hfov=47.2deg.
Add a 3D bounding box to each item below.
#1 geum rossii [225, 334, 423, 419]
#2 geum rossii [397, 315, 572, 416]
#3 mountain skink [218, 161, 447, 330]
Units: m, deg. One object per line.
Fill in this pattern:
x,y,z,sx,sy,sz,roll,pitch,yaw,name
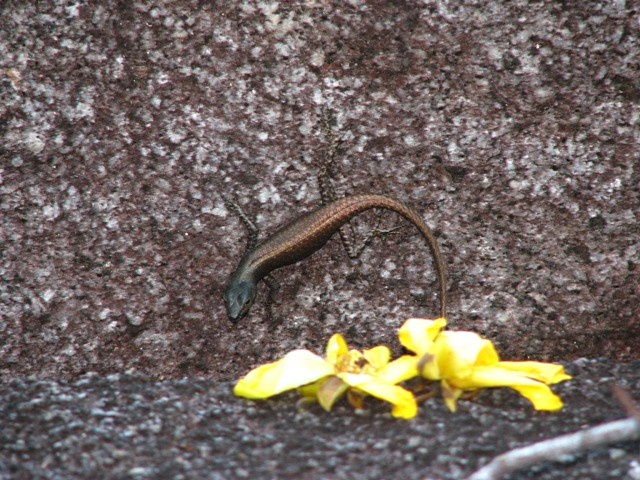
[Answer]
0.051,0.813,4.265,1.126,0.856,0.250,-5,103,-20,geum rossii
0.929,0.722,4.172,0.914,0.239,0.484,8,65,17,geum rossii
0.054,0.098,5.143,1.490,0.423,0.862,-6,81,1,mountain skink
